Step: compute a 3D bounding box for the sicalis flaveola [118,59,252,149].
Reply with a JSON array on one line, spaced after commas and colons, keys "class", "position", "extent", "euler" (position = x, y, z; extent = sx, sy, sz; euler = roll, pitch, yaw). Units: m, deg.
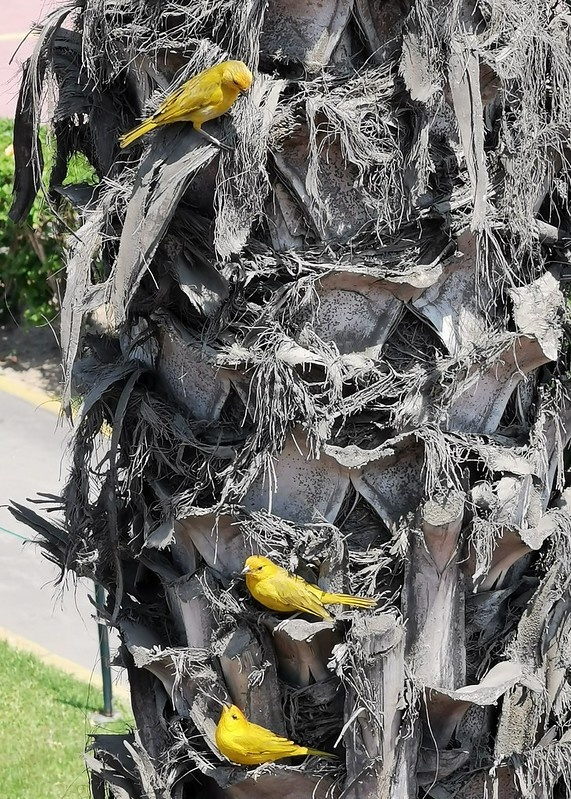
[{"class": "sicalis flaveola", "position": [-0.159, -0.564, 2.024], "extent": [0.304, 0.158, 0.095], "euler": [-2, 26, 9]}]

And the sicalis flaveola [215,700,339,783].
[{"class": "sicalis flaveola", "position": [-0.023, 0.706, 2.213], "extent": [0.233, 0.119, 0.098], "euler": [1, 6, 1]}]

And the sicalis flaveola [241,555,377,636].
[{"class": "sicalis flaveola", "position": [0.011, 0.387, 2.132], "extent": [0.384, 0.139, 0.101], "euler": [5, 11, -1]}]
